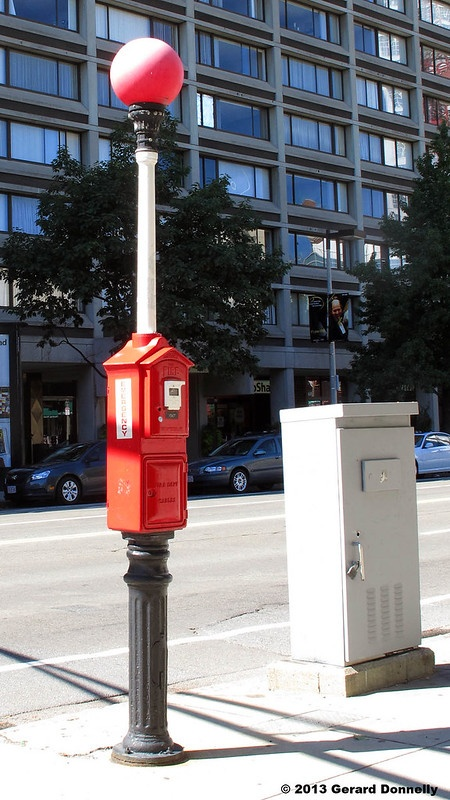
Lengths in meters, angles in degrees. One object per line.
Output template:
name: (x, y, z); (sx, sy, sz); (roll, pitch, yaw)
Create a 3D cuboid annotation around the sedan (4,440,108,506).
sedan: (-3.155, 1.502, 21.452); (2.374, 1.043, 1.106); (5, -9, -41)

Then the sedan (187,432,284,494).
sedan: (0.213, 1.397, 23.289); (2.338, 1.251, 1.095); (-1, -2, -35)

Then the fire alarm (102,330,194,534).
fire alarm: (-0.325, 0.130, 4.442); (0.336, 0.826, 0.294); (-1, -2, -42)
